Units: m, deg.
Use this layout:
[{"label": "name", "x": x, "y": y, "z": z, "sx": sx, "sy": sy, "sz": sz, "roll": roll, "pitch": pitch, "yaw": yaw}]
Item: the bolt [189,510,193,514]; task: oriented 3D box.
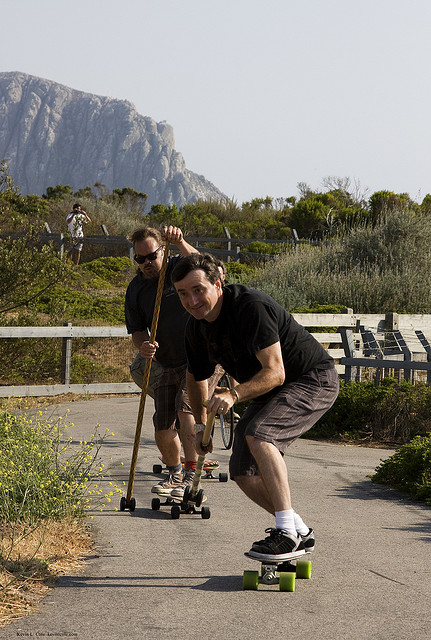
[{"label": "bolt", "x": -0.175, "y": 1.404, "z": 5.210, "sx": 0.034, "sy": 0.008, "sz": 0.034, "roll": 3, "pitch": 5, "yaw": 30}]

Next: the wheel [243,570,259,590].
[{"label": "wheel", "x": 0.186, "y": 1.292, "z": 3.588, "sx": 0.084, "sy": 0.108, "sz": 0.113, "roll": 1, "pitch": -45, "yaw": 4}]

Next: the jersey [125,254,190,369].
[{"label": "jersey", "x": -0.417, "y": -0.074, "z": 5.445, "sx": 0.438, "sy": 0.785, "sz": 0.709, "roll": 2, "pitch": -1, "yaw": -23}]

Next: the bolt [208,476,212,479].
[{"label": "bolt", "x": -0.042, "y": 1.424, "z": 6.449, "sx": 0.035, "sy": 0.026, "sz": 0.035, "roll": 0, "pitch": -7, "yaw": -7}]

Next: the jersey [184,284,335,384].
[{"label": "jersey", "x": 0.219, "y": 0.078, "z": 3.854, "sx": 0.785, "sy": 0.536, "sz": 0.721, "roll": -10, "pitch": -3, "yaw": -5}]

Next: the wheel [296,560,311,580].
[{"label": "wheel", "x": 0.462, "y": 1.308, "z": 3.731, "sx": 0.083, "sy": 0.120, "sz": 0.116, "roll": 2, "pitch": 4, "yaw": 7}]

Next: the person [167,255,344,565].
[{"label": "person", "x": 0.200, "y": 0.459, "z": 3.761, "sx": 0.754, "sy": 1.585, "sz": 0.991, "roll": -16, "pitch": -18, "yaw": 27}]

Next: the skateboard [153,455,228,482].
[{"label": "skateboard", "x": -0.138, "y": 1.313, "z": 6.618, "sx": 0.290, "sy": 0.129, "sz": 0.752, "roll": -2, "pitch": 5, "yaw": -30}]

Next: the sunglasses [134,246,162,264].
[{"label": "sunglasses", "x": -0.524, "y": -0.494, "z": 5.343, "sx": 0.240, "sy": 0.118, "sz": 0.092, "roll": 1, "pitch": -1, "yaw": 33}]

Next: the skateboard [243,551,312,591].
[{"label": "skateboard", "x": 0.321, "y": 1.274, "z": 3.593, "sx": 0.199, "sy": 0.122, "sz": 0.394, "roll": -2, "pitch": -12, "yaw": 8}]

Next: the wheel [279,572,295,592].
[{"label": "wheel", "x": 0.357, "y": 1.302, "z": 3.530, "sx": 0.084, "sy": 0.115, "sz": 0.117, "roll": 1, "pitch": -4, "yaw": 5}]

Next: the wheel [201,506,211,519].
[{"label": "wheel", "x": -0.061, "y": 1.372, "z": 5.129, "sx": 0.061, "sy": 0.127, "sz": 0.127, "roll": 0, "pitch": 0, "yaw": -7}]

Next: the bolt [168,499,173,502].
[{"label": "bolt", "x": -0.339, "y": 1.364, "z": 5.389, "sx": 0.024, "sy": 0.018, "sz": 0.024, "roll": 2, "pitch": -4, "yaw": 0}]

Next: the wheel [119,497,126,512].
[{"label": "wheel", "x": -0.671, "y": 1.343, "z": 5.176, "sx": 0.036, "sy": 0.112, "sz": 0.111, "roll": 5, "pitch": 10, "yaw": 1}]

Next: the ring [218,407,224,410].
[{"label": "ring", "x": 0.029, "y": 0.404, "z": 3.268, "sx": 0.028, "sy": 0.008, "sz": 0.012, "roll": 2, "pitch": -1, "yaw": -12}]
